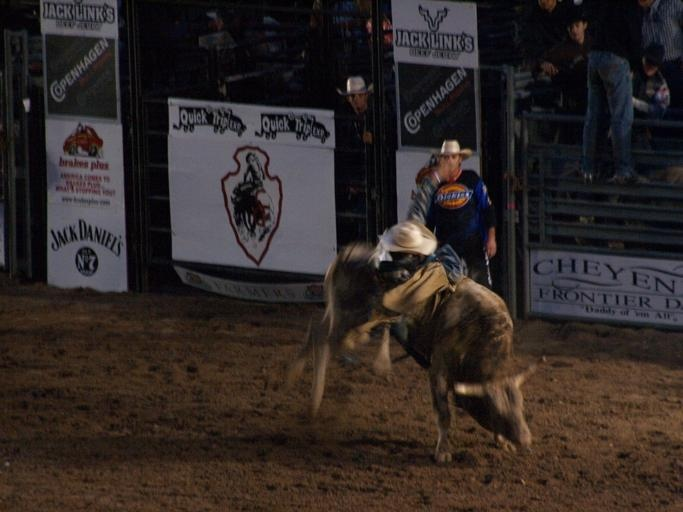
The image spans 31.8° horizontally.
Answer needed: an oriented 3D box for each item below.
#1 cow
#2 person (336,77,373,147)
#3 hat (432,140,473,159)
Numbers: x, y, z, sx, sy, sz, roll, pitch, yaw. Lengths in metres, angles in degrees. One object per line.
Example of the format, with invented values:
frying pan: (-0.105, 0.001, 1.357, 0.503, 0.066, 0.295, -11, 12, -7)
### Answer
cow: (0.974, 1.128, 13.581, 2.450, 2.354, 0.776, 2, 6, 11)
person: (0.311, -2.116, 17.430, 0.292, 0.969, 0.548, -5, 8, -41)
hat: (1.513, -1.421, 15.929, 0.404, 0.256, 1.054, 2, 8, 8)
